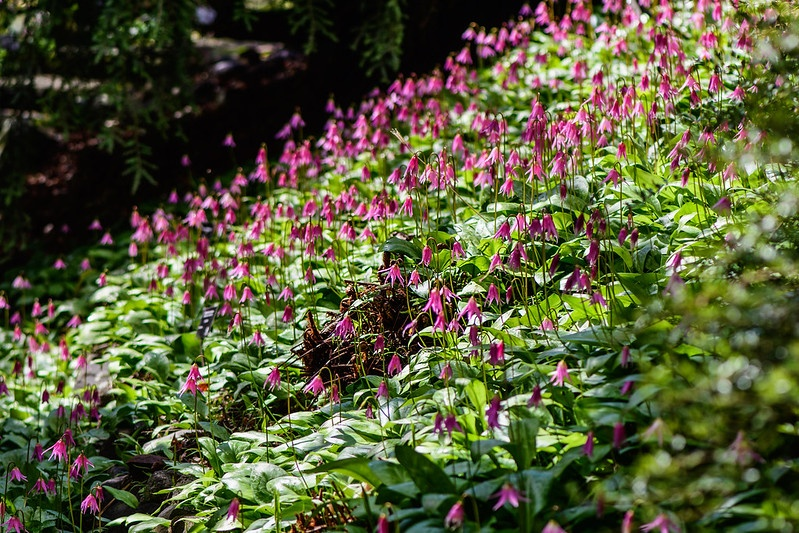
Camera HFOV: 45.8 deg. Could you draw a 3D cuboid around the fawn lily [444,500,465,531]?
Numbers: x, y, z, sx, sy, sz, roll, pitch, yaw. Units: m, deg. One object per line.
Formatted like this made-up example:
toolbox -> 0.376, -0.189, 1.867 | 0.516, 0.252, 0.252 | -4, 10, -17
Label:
fawn lily -> 0.340, 1.583, 6.003 | 0.113, 0.229, 0.073 | 12, 30, 3
